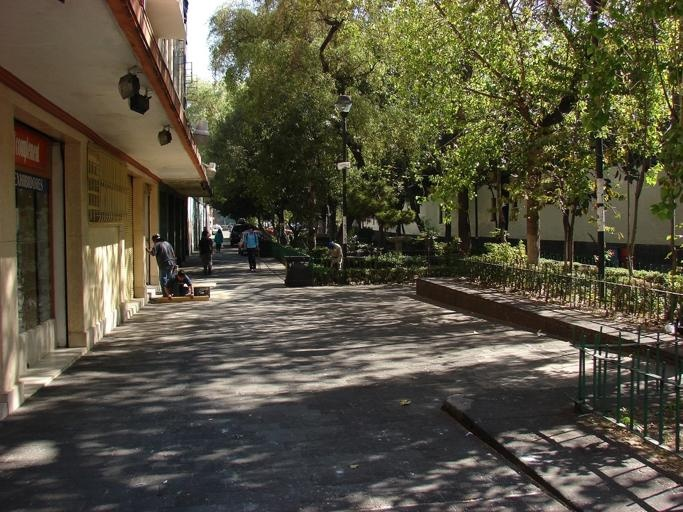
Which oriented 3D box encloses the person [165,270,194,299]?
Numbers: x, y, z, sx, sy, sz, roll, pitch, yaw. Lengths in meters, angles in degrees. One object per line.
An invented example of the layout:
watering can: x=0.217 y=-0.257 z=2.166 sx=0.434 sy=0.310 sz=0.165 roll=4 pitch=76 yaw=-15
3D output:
person: x=-4.848 y=0.892 z=17.653 sx=0.633 sy=1.167 sz=0.829 roll=-4 pitch=11 yaw=-27

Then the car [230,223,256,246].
car: x=-10.464 y=-2.015 z=59.350 sx=1.860 sy=1.799 sz=3.370 roll=0 pitch=8 yaw=-3
